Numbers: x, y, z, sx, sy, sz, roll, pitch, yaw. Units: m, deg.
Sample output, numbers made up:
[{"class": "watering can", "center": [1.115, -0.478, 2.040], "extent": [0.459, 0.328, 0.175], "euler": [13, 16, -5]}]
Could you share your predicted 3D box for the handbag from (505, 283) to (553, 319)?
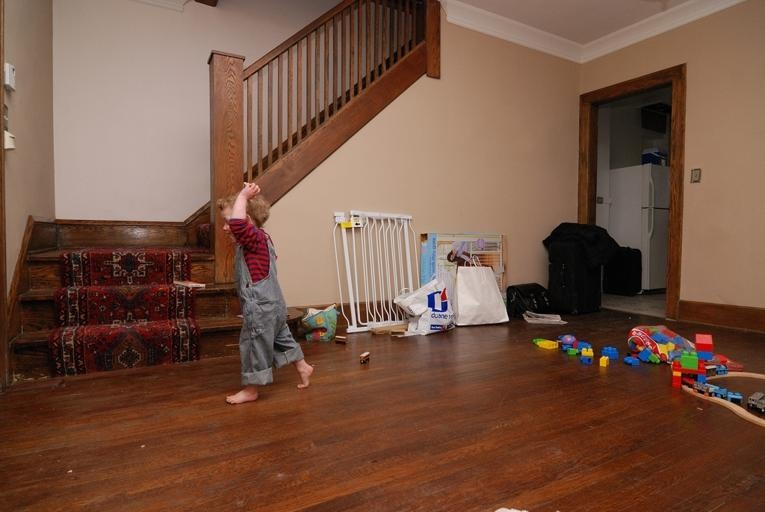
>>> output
[{"class": "handbag", "center": [1.676, 0.482, 5.486], "extent": [0.547, 0.375, 0.288], "euler": [-5, 4, -38]}]

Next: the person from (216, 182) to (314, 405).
[{"class": "person", "center": [-0.746, 0.229, 3.122], "extent": [0.537, 1.370, 0.291], "euler": [-2, 8, -18]}]

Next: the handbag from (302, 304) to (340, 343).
[{"class": "handbag", "center": [-0.545, 0.586, 4.290], "extent": [0.286, 0.281, 0.122], "euler": [4, 10, -10]}]

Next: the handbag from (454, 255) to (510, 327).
[{"class": "handbag", "center": [1.003, 0.373, 4.977], "extent": [0.708, 0.647, 0.252], "euler": [-1, -4, -23]}]

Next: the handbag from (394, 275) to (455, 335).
[{"class": "handbag", "center": [0.425, 0.492, 4.665], "extent": [0.622, 0.544, 0.338], "euler": [-7, 3, -35]}]

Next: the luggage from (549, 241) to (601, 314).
[{"class": "luggage", "center": [2.397, 0.241, 5.633], "extent": [0.646, 0.851, 0.587], "euler": [1, -4, -22]}]

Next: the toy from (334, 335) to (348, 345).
[{"class": "toy", "center": [-0.351, 0.734, 4.227], "extent": [0.089, 0.053, 0.063], "euler": [-3, -10, 18]}]
